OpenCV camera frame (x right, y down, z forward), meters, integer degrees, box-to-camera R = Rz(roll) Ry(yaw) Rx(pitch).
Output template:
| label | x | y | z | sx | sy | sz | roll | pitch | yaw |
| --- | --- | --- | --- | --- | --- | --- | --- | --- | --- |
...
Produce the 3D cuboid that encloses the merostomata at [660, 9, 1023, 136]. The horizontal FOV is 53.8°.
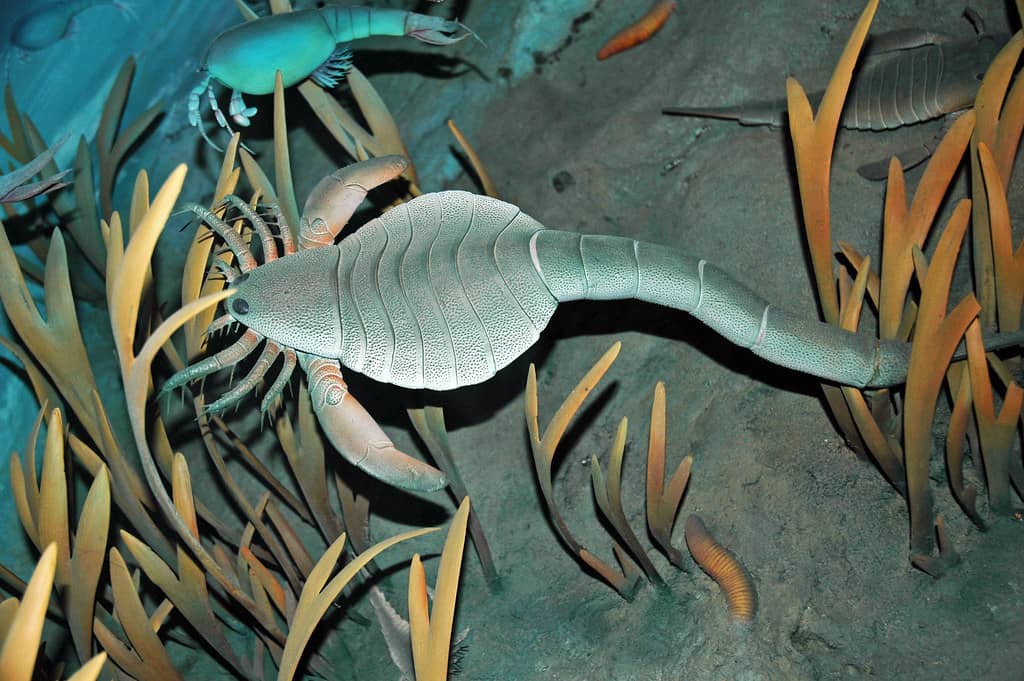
| label | x | y | z | sx | sy | sz | roll | pitch | yaw |
| --- | --- | --- | --- | --- | --- | --- | --- | --- | --- |
| merostomata | 1.038 | -0.766 | 3.009 | 0.762 | 0.320 | 0.069 | -6 | -24 | 28 |
